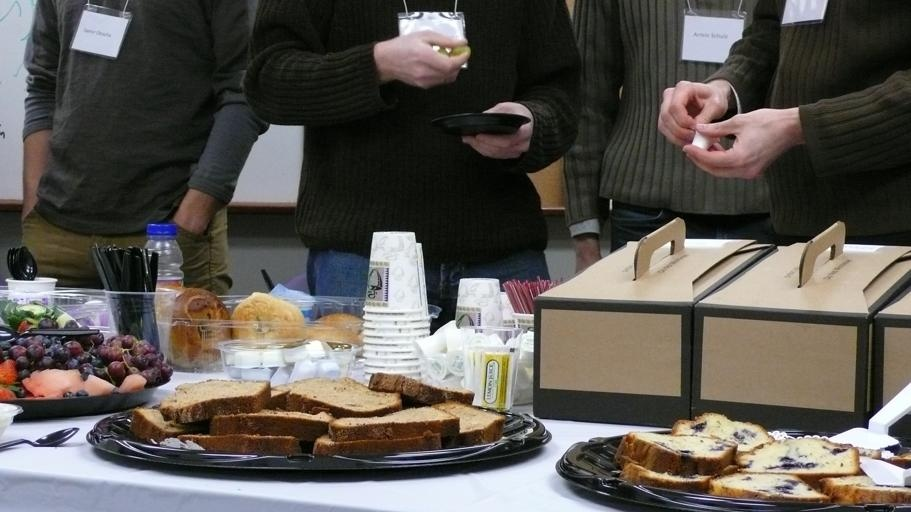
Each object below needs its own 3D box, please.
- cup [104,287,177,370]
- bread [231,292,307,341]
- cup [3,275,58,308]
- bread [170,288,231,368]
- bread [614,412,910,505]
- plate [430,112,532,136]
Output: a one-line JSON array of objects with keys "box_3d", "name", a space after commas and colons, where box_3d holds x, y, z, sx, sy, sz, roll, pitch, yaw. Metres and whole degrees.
[{"box_3d": [-0.802, 0.166, 2.076, 0.188, 0.230, 0.195, -2, 4, 0], "name": "cup"}, {"box_3d": [-0.498, 0.160, 2.169, 0.128, 0.091, 0.170, 6, -10, 22], "name": "bread"}, {"box_3d": [-1.160, 0.080, 2.224, 0.113, 0.081, 0.115, 1, 4, 0], "name": "cup"}, {"box_3d": [-0.713, 0.197, 2.193, 0.203, 0.196, 0.206, -7, -9, 35], "name": "bread"}, {"box_3d": [0.595, 0.398, 1.535, 0.335, 0.054, 0.216, 3, 6, 25], "name": "bread"}, {"box_3d": [0.076, -0.389, 2.419, 0.287, 0.065, 0.157, 0, 8, 4], "name": "plate"}]
